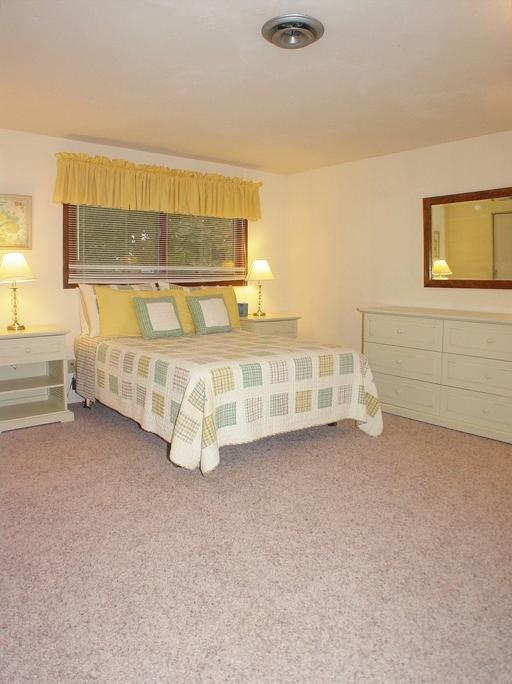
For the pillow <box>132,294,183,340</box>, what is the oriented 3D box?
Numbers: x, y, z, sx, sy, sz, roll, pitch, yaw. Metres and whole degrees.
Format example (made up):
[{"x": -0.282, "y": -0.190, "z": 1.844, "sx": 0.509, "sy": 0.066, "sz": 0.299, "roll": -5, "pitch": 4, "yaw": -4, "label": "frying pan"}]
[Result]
[{"x": -0.756, "y": -0.226, "z": 3.926, "sx": 0.358, "sy": 0.341, "sz": 0.094, "roll": -3, "pitch": -21, "yaw": -45, "label": "pillow"}]

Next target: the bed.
[{"x": -0.463, "y": 0.153, "z": 3.525, "sx": 1.383, "sy": 0.882, "sz": 1.786, "roll": -4, "pitch": 6, "yaw": -36, "label": "bed"}]

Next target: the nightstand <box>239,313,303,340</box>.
[{"x": 0.171, "y": -0.166, "z": 5.111, "sx": 0.431, "sy": 0.409, "sz": 0.291, "roll": -4, "pitch": 7, "yaw": -39, "label": "nightstand"}]

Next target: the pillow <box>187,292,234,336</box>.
[{"x": -0.403, "y": -0.236, "z": 4.289, "sx": 0.099, "sy": 0.344, "sz": 0.374, "roll": -27, "pitch": -14, "yaw": 41, "label": "pillow"}]

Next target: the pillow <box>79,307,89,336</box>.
[{"x": -1.446, "y": -0.180, "z": 4.208, "sx": 0.040, "sy": 0.253, "sz": 0.219, "roll": -9, "pitch": 9, "yaw": -31, "label": "pillow"}]
